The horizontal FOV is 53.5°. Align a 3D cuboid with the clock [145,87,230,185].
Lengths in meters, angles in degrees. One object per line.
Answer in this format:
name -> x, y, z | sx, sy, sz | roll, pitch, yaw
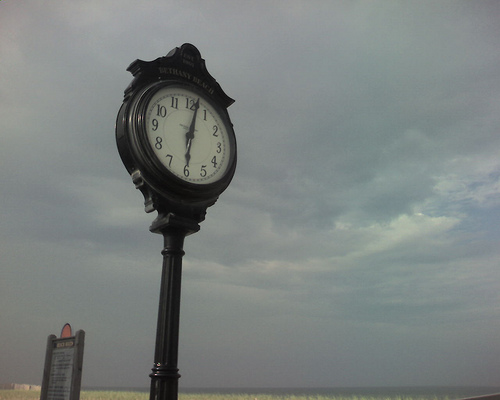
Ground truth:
clock -> -0.904, -0.850, 6.831 | 1.582, 1.602, 0.133 | 10, -31, -45
